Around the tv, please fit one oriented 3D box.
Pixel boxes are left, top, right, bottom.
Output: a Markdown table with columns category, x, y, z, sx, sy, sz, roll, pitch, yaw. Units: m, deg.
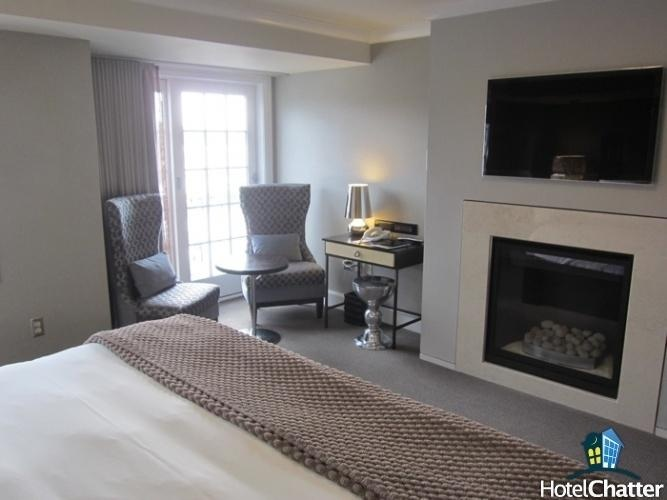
| category | x | y | z | sx | sy | sz | roll | pitch | yaw |
| --- | --- | --- | --- | --- | --- | --- | --- | --- | --- |
| tv | 1.523 | -0.813 | 3.381 | 1.082 | 0.692 | 0.051 | 11 | 13 | 36 |

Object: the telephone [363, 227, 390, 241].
| category | x | y | z | sx | sy | sz | roll | pitch | yaw |
| --- | --- | --- | --- | --- | --- | --- | --- | --- | --- |
| telephone | 0.372 | -0.153 | 4.615 | 0.204 | 0.085 | 0.124 | -5 | 9 | -29 |

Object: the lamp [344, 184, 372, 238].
| category | x | y | z | sx | sy | sz | roll | pitch | yaw |
| --- | --- | --- | --- | --- | --- | --- | --- | --- | --- |
| lamp | 0.248 | -0.374 | 4.879 | 0.231 | 0.496 | 0.352 | 4 | 10 | 9 |

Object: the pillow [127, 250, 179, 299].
| category | x | y | z | sx | sy | sz | roll | pitch | yaw |
| --- | --- | --- | --- | --- | --- | --- | --- | --- | --- |
| pillow | -1.542 | 0.216 | 4.359 | 0.133 | 0.249 | 0.353 | -2 | 10 | 28 |

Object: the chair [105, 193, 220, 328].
| category | x | y | z | sx | sy | sz | roll | pitch | yaw |
| --- | --- | --- | --- | --- | --- | --- | --- | --- | --- |
| chair | -1.422 | 0.190 | 4.422 | 0.915 | 1.271 | 0.884 | -8 | 16 | -36 |

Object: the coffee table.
| category | x | y | z | sx | sy | sz | roll | pitch | yaw |
| --- | --- | --- | --- | --- | --- | --- | --- | --- | --- |
| coffee table | -0.612 | 0.393 | 4.624 | 0.668 | 0.810 | 0.716 | -1 | 22 | -7 |
